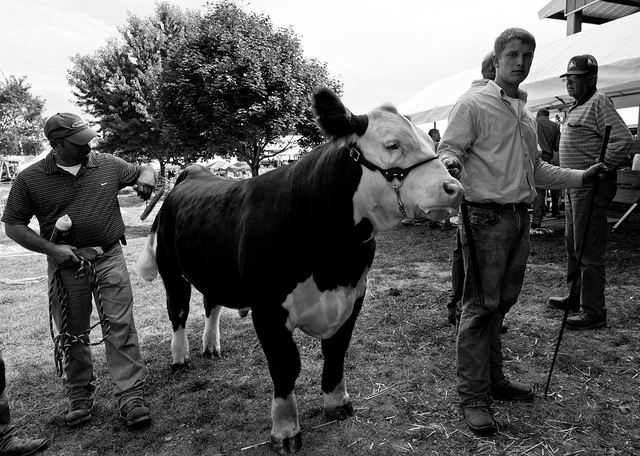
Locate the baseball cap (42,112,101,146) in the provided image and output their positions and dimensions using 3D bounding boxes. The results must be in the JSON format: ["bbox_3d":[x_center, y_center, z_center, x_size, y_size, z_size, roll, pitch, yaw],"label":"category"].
[{"bbox_3d":[-2.479,-1.022,4.629,0.551,0.252,0.377,17,36,14],"label":"baseball cap"}]

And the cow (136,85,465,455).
[{"bbox_3d":[-0.297,0.390,4.510,3.253,3.274,1.081,4,13,39],"label":"cow"}]

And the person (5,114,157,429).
[{"bbox_3d":[-2.401,0.414,4.742,1.165,3.086,0.906,-5,10,-4],"label":"person"}]

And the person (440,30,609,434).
[{"bbox_3d":[1.771,-0.015,4.581,1.380,3.710,0.577,-11,12,-33],"label":"person"}]

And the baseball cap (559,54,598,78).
[{"bbox_3d":[3.248,-2.015,5.771,0.334,0.174,0.229,-9,21,-8],"label":"baseball cap"}]
